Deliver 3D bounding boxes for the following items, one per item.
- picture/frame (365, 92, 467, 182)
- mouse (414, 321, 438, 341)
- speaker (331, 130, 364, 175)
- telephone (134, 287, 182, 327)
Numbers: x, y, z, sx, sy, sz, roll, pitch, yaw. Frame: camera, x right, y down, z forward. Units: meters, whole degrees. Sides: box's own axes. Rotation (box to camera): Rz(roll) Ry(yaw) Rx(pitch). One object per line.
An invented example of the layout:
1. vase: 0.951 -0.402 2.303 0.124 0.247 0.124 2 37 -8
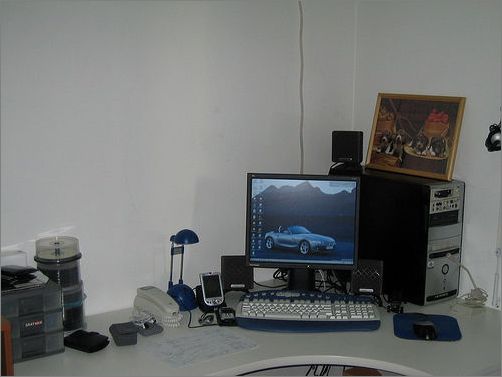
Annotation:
1. picture/frame: 0.823 -0.248 2.181 0.029 0.364 0.434 7 2 -39
2. mouse: 0.679 0.546 1.734 0.075 0.057 0.056 4 6 34
3. speaker: 0.505 -0.189 2.359 0.168 0.229 0.182 2 6 14
4. telephone: -0.415 0.487 1.928 0.231 0.109 0.107 17 18 39
